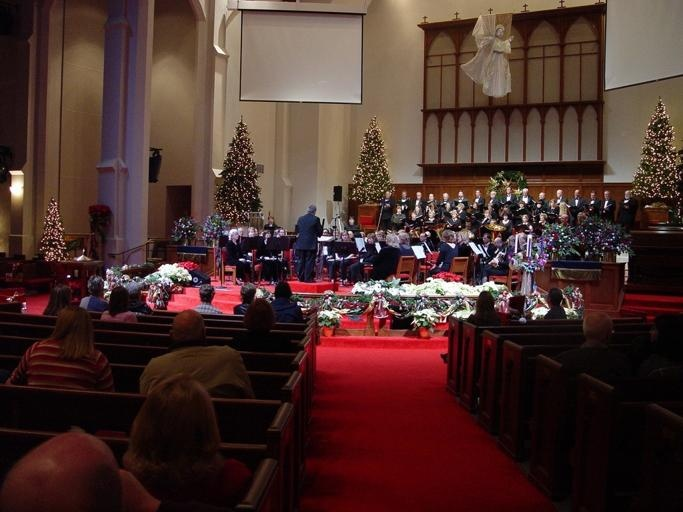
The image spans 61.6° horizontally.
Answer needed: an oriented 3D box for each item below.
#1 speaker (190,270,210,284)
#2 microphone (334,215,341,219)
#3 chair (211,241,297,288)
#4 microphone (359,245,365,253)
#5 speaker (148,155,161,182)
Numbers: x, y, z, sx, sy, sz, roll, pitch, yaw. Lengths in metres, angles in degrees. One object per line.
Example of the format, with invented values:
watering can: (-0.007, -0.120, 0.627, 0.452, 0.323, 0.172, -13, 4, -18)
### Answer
speaker: (-3.146, 0.450, 12.541, 0.364, 0.280, 0.246, 1, 2, 13)
microphone: (-0.175, -1.640, 23.695, 0.149, 0.117, 0.234, -2, 7, -8)
chair: (-1.959, 0.149, 13.400, 1.186, 0.924, 1.272, 5, 6, 29)
microphone: (0.475, -0.171, 13.328, 0.038, 0.140, 0.125, 10, -2, 43)
speaker: (-6.152, -2.870, 18.742, 0.381, 0.820, 0.625, -4, 9, -20)
